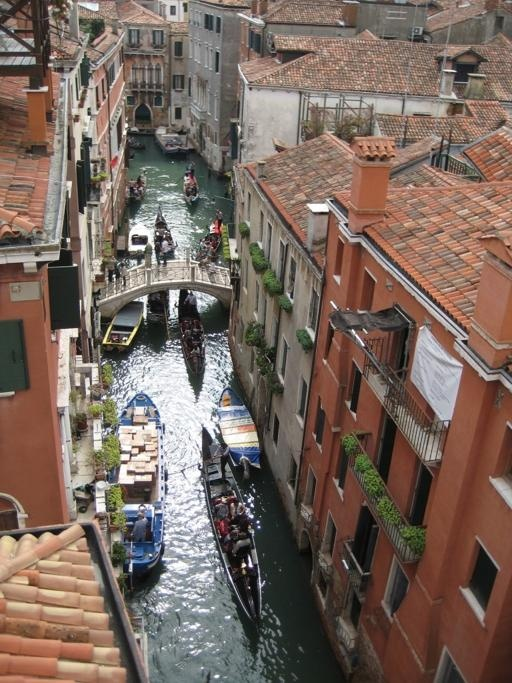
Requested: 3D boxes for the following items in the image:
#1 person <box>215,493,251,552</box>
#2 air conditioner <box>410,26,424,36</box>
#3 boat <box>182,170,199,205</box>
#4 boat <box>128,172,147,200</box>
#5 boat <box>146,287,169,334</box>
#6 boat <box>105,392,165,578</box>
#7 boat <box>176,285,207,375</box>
[{"bbox_3d":[-0.967,7.319,23.113,0.813,0.994,2.657,-3,25,-7],"label":"person"},{"bbox_3d":[14.246,-27.391,50.221,1.100,0.843,0.633,0,2,6],"label":"air conditioner"},{"bbox_3d":[-7.531,-18.025,65.976,1.291,1.438,7.050,-20,46,16],"label":"boat"},{"bbox_3d":[-13.364,-17.651,64.695,1.138,1.171,5.187,-1,48,2],"label":"boat"},{"bbox_3d":[-7.262,-2.306,42.034,1.073,0.915,4.156,-1,67,3],"label":"boat"},{"bbox_3d":[-5.054,5.903,25.455,1.560,2.086,9.886,-1,43,-3],"label":"boat"},{"bbox_3d":[-4.611,-0.755,39.863,1.511,1.952,8.450,-1,42,-5],"label":"boat"}]
